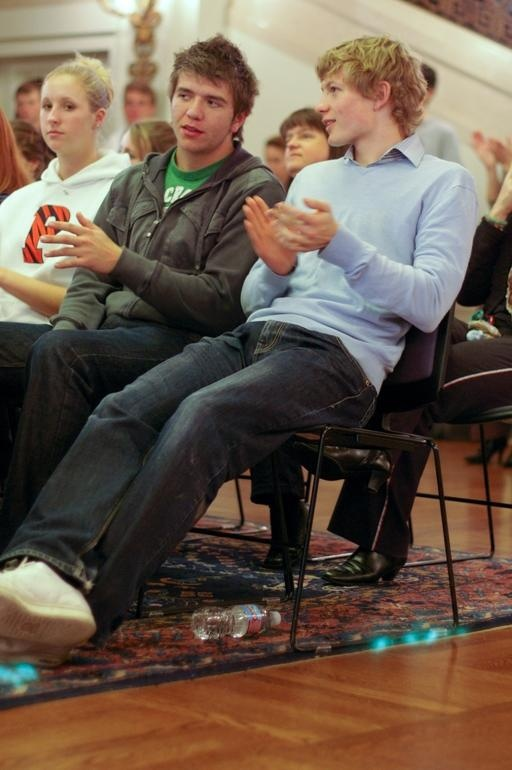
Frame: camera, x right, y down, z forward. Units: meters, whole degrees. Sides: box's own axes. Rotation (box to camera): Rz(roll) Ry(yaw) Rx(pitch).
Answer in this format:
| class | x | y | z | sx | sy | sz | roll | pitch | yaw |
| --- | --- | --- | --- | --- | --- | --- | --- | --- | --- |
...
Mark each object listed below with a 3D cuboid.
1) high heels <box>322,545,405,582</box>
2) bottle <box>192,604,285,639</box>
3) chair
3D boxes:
| class | x | y | z | sx | sy | sz | roll | pitch | yaw |
| --- | --- | --- | --- | --- | --- | --- | --- | --- | --- |
| high heels | 0.249 | 0.414 | 1.630 | 0.206 | 0.085 | 0.075 | 5 | -6 | -10 |
| bottle | -0.027 | 0.389 | 1.156 | 0.179 | 0.040 | 0.072 | 6 | -4 | -28 |
| chair | 0.238 | 0.154 | 1.487 | 0.403 | 0.564 | 0.380 | -3 | 2 | 24 |
